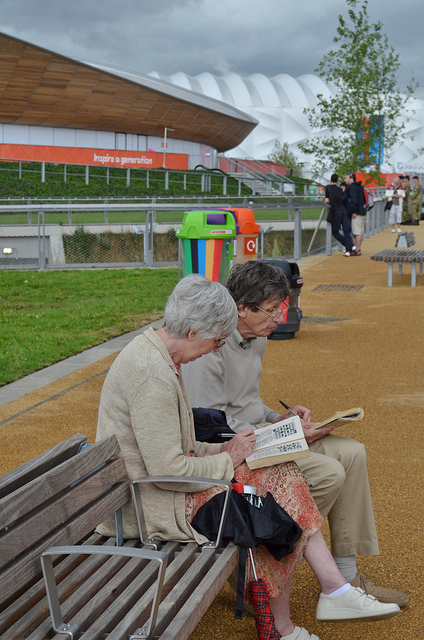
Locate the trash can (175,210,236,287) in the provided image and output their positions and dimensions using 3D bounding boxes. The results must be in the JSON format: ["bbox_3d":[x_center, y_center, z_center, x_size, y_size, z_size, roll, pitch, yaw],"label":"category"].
[{"bbox_3d":[-0.089,-1.108,7.276,0.831,1.013,0.491,0,-4,-3],"label":"trash can"}]

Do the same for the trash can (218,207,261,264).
[{"bbox_3d":[0.363,-1.386,8.663,0.826,1.043,0.870,-7,11,-4],"label":"trash can"}]

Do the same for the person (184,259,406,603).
[{"bbox_3d":[0.356,0.464,2.106,0.581,1.369,1.098,-8,11,-36],"label":"person"}]

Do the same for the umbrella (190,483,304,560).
[{"bbox_3d":[0.141,0.669,1.647,0.356,0.206,0.460,-1,-14,22],"label":"umbrella"}]

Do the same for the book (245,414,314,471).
[{"bbox_3d":[0.246,0.458,1.788,0.195,0.052,0.187,-20,19,15],"label":"book"}]
